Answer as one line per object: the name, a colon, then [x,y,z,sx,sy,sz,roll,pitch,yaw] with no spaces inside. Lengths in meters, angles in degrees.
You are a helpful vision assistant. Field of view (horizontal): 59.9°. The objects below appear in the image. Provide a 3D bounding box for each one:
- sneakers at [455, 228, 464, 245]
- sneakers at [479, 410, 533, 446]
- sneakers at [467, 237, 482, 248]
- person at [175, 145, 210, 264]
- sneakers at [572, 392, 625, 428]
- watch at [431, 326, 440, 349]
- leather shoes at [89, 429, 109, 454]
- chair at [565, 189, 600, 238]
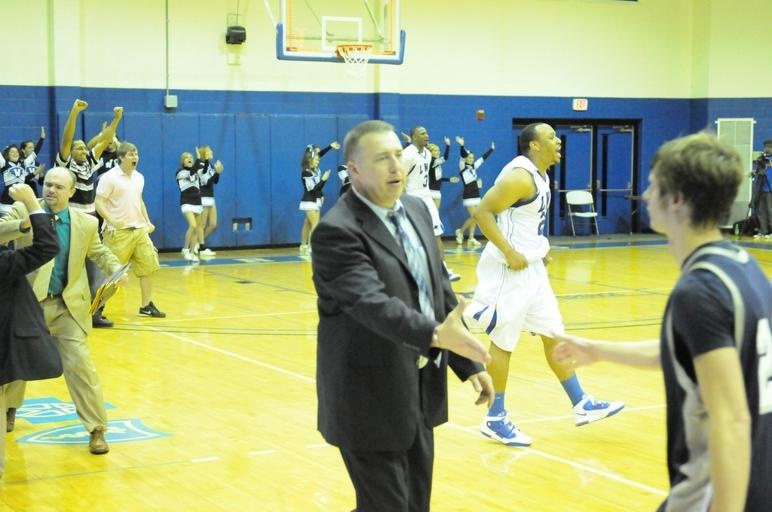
sneakers: [2.030,-0.545,17.869,0.167,0.199,0.459,-2,47,-7]
sneakers: [0.875,1.265,5.067,0.432,0.198,0.176,14,10,22]
sneakers: [2.300,-0.329,17.141,0.212,0.190,0.354,1,-2,-7]
person: [-4.237,-1.116,14.801,0.569,2.379,1.202,-3,9,-16]
sneakers: [1.602,1.181,5.246,0.484,0.219,0.180,-10,0,-8]
watch: [0.190,0.308,2.515,0.025,0.063,0.055,3,12,7]
leather shoes: [-2.094,1.338,4.912,0.129,0.166,0.217,-4,9,-23]
chair: [5.728,-1.257,19.432,0.928,1.058,0.940,-4,-9,8]
